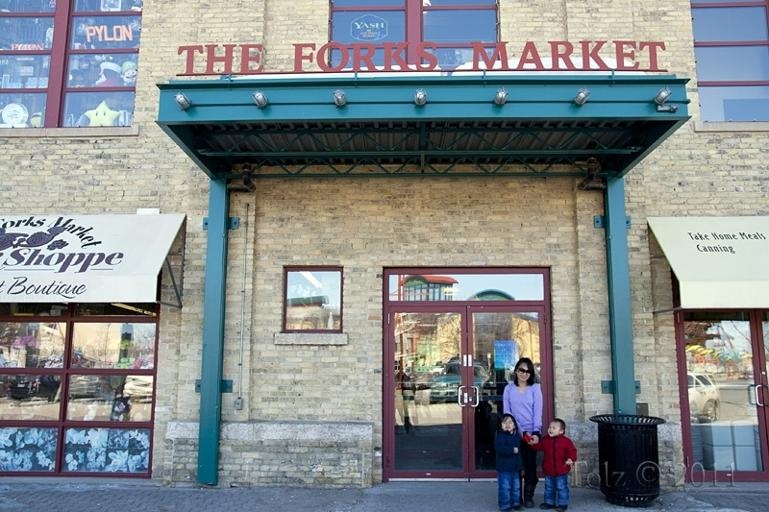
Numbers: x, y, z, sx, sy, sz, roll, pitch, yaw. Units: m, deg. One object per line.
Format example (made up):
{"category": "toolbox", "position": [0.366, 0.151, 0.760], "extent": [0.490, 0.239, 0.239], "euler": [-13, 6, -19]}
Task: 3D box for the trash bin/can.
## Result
{"category": "trash bin/can", "position": [4.593, 3.980, 16.368], "extent": [1.697, 1.697, 1.644], "euler": [-3, -11, 19]}
